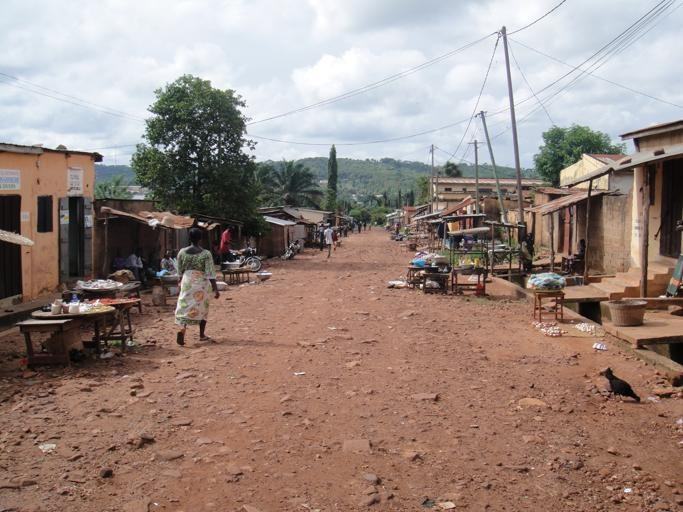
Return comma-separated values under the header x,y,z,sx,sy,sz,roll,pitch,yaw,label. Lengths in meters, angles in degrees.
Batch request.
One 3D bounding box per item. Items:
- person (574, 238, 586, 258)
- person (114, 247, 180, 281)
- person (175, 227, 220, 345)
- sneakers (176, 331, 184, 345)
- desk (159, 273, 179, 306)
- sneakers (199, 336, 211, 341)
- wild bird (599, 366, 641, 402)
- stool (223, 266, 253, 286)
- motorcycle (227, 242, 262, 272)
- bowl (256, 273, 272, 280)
x,y,z,sx,sy,sz,roll,pitch,yaw,label
8.465,-0.323,19.123,0.259,0.565,1.542,4,9,26,person
-6.430,0.254,17.754,1.851,0.603,1.077,1,1,-8,person
-2.726,0.559,10.100,0.791,2.191,0.698,-3,10,-12,person
-2.983,1.520,10.015,0.144,0.242,0.254,2,-4,2,sneakers
-5.119,0.935,16.027,0.906,0.846,0.821,0,-1,-7,desk
-2.607,1.581,10.425,0.233,0.085,0.082,-2,15,-38,sneakers
3.834,1.777,7.578,0.260,0.329,0.640,4,15,-35,wild bird
-3.854,0.744,19.784,0.777,0.456,1.013,0,1,1,stool
-4.432,0.190,24.127,1.920,1.033,0.944,-1,6,8,motorcycle
-2.892,0.749,20.208,0.484,0.264,0.410,-2,9,-14,bowl
